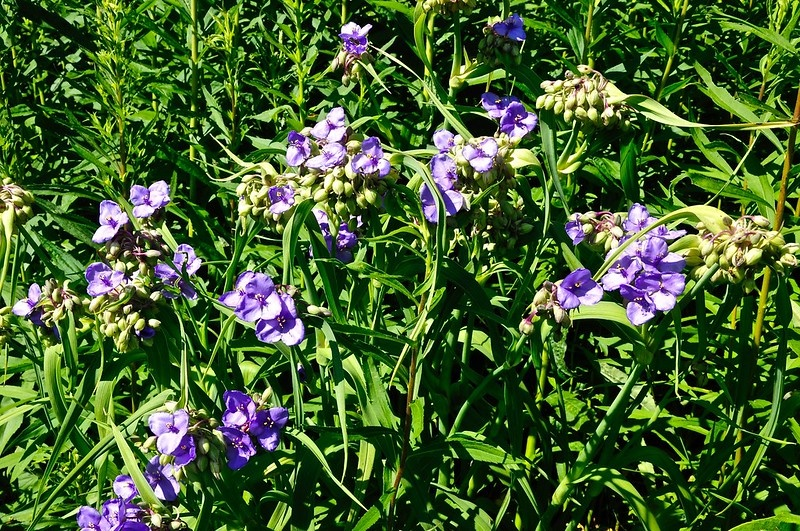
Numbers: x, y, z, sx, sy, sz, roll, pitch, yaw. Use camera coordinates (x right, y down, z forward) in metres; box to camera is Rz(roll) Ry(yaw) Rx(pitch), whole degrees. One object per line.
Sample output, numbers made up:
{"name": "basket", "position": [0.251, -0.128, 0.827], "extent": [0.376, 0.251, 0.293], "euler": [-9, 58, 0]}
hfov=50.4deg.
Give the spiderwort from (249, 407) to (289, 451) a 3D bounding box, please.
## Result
{"name": "spiderwort", "position": [-0.405, 0.503, 2.661], "extent": [0.105, 0.064, 0.140], "euler": [-22, 90, -15]}
